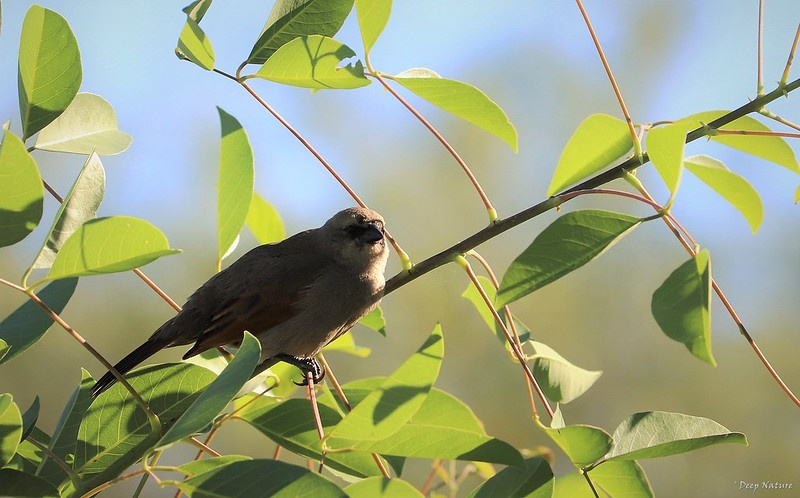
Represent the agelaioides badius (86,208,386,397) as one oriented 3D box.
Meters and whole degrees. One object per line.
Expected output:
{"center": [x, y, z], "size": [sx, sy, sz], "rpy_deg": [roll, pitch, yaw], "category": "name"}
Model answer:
{"center": [-0.844, 0.273, 4.258], "size": [1.600, 0.472, 0.778], "rpy_deg": [-6, -83, -2], "category": "agelaioides badius"}
